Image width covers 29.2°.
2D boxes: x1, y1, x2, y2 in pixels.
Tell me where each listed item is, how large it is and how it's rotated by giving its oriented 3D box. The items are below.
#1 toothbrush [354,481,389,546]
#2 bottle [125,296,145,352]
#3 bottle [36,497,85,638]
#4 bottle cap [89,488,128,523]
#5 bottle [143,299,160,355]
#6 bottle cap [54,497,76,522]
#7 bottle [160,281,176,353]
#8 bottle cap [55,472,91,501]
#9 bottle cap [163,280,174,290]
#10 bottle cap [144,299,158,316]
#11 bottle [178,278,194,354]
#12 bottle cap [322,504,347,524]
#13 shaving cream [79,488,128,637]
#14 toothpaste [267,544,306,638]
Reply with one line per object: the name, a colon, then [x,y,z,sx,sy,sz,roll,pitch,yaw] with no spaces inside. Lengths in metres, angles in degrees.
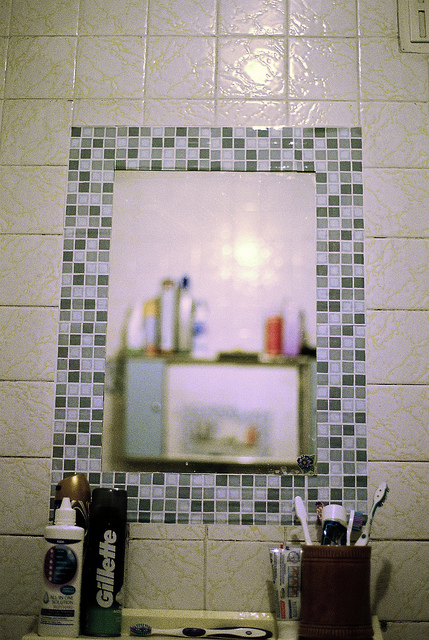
toothbrush: [0.329,0.415,1.735,0.025,0.172,0.014,-10,-48,49]
bottle: [-0.180,0.012,1.856,0.041,0.125,0.016,3,-3,-9]
bottle: [-0.299,0.486,1.629,0.081,0.260,0.092,3,-3,-9]
bottle cap: [-0.213,0.373,1.665,0.074,0.064,0.066,1,-3,-2]
bottle: [-0.142,0.018,1.855,0.036,0.120,0.017,2,-3,-6]
bottle cap: [-0.292,0.377,1.640,0.048,0.044,0.044,2,-16,-5]
bottle: [-0.104,-0.005,1.857,0.036,0.159,0.021,2,-3,-5]
bottle cap: [-0.290,0.347,1.695,0.065,0.061,0.059,9,-23,-1]
bottle cap: [-0.105,-0.077,1.869,0.023,0.020,0.006,14,-7,4]
bottle cap: [-0.145,-0.026,1.864,0.036,0.029,0.008,-1,-8,5]
bottle: [-0.066,0.000,1.854,0.032,0.153,0.018,2,-3,-3]
bottle cap: [0.239,0.390,1.661,0.042,0.027,0.038,9,-37,-1]
shaving cream: [-0.224,0.485,1.662,0.083,0.280,0.100,2,-3,-5]
toothpaste: [0.140,0.544,1.644,0.073,0.164,0.058,1,-3,16]
